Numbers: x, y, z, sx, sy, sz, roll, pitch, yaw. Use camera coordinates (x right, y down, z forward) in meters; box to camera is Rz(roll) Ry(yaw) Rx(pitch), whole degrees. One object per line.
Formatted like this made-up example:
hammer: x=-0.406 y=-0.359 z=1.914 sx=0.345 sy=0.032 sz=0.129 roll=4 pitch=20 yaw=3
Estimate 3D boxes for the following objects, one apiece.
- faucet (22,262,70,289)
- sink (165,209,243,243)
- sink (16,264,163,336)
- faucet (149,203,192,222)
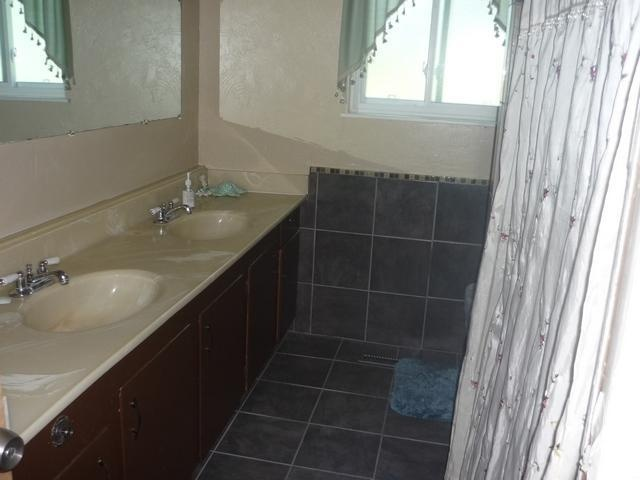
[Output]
faucet: x=-1.043 y=0.124 z=1.885 sx=0.165 sy=0.084 sz=0.130 roll=-8 pitch=21 yaw=-33
sink: x=-0.671 y=-0.063 z=2.884 sx=0.487 sy=0.149 sz=0.273 roll=-8 pitch=21 yaw=-34
sink: x=-0.858 y=0.248 z=1.900 sx=0.497 sy=0.147 sz=0.286 roll=-11 pitch=23 yaw=-39
faucet: x=-0.853 y=-0.163 z=2.820 sx=0.084 sy=0.093 sz=0.223 roll=5 pitch=11 yaw=24
